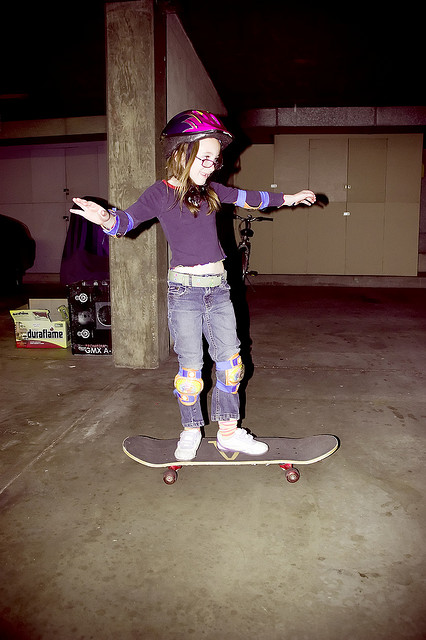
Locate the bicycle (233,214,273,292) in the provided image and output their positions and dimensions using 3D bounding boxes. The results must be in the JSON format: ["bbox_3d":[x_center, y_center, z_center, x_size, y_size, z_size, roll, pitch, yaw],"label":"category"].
[{"bbox_3d":[0.523,-1.150,8.707,0.814,0.797,1.334,2,26,2],"label":"bicycle"}]

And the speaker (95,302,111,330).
[{"bbox_3d":[-0.985,-0.033,4.636,0.134,0.248,0.065,1,7,0],"label":"speaker"}]

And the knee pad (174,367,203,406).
[{"bbox_3d":[-0.110,0.301,2.423,0.127,0.162,0.071,9,8,11],"label":"knee pad"}]

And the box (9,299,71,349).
[{"bbox_3d":[-1.666,0.054,5.114,0.557,0.380,0.510,0,6,5],"label":"box"}]

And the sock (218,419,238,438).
[{"bbox_3d":[0.075,0.512,2.523,0.078,0.087,0.095,-20,20,-40],"label":"sock"}]

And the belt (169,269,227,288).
[{"bbox_3d":[-0.066,-0.186,2.338,0.262,0.073,0.154,0,6,-6],"label":"belt"}]

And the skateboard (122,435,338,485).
[{"bbox_3d":[-0.031,0.630,2.472,1.208,0.191,0.332,0,14,-1],"label":"skateboard"}]
